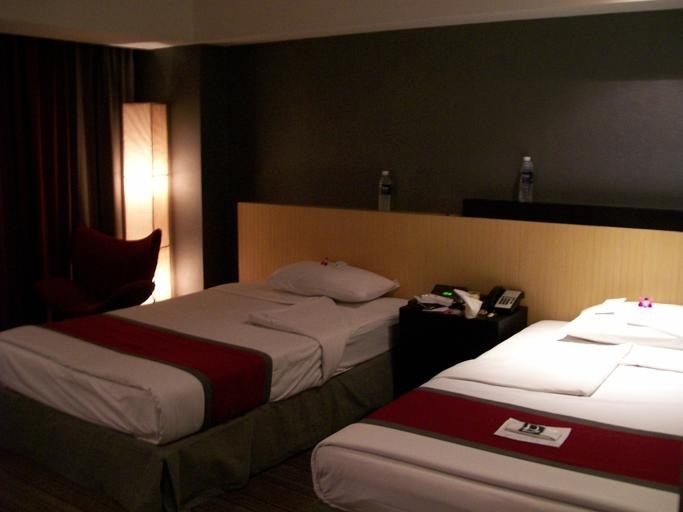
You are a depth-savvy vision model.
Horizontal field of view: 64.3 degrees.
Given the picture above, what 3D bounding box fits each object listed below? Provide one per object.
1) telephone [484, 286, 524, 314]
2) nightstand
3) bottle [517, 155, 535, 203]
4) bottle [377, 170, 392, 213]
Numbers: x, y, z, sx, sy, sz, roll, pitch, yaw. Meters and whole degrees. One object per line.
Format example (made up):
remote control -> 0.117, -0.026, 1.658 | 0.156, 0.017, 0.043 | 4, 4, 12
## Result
telephone -> 1.187, 0.314, 3.944 | 0.178, 0.098, 0.243 | 6, 24, 36
nightstand -> 0.802, 0.585, 3.512 | 0.490, 0.263, 0.482 | 15, 44, -11
bottle -> 1.430, -0.588, 4.179 | 0.125, 0.345, 0.239 | 2, 15, 18
bottle -> 0.396, -0.581, 4.834 | 0.135, 0.343, 0.223 | -1, 14, 4
